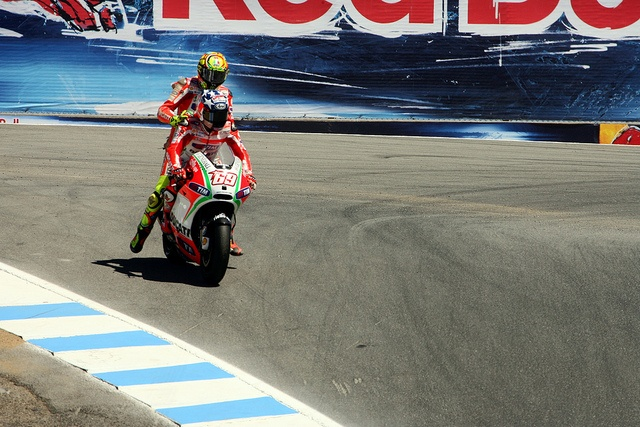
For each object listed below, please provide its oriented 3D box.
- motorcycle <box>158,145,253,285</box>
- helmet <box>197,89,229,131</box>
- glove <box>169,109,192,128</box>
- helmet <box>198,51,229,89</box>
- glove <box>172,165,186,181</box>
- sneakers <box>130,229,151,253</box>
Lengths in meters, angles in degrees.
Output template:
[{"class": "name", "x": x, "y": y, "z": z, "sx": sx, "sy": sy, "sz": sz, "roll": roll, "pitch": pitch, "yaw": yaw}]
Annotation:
[{"class": "motorcycle", "x": -1.436, "y": 0.102, "z": 7.463, "sx": 0.717, "sy": 1.655, "sz": 1.284, "roll": -7, "pitch": 24, "yaw": -35}, {"class": "helmet", "x": -1.437, "y": -1.427, "z": 7.712, "sx": 0.413, "sy": 0.515, "sz": 0.540, "roll": -5, "pitch": 26, "yaw": -23}, {"class": "glove", "x": -1.894, "y": -1.274, "z": 7.667, "sx": 0.276, "sy": 0.215, "sz": 0.169, "roll": 1, "pitch": 20, "yaw": -18}, {"class": "helmet", "x": -1.507, "y": -2.014, "z": 7.877, "sx": 0.457, "sy": 0.521, "sz": 0.547, "roll": 4, "pitch": 25, "yaw": -22}, {"class": "glove", "x": -1.837, "y": -0.520, "z": 7.338, "sx": 0.156, "sy": 0.147, "sz": 0.071, "roll": -35, "pitch": 17, "yaw": -1}, {"class": "sneakers", "x": -2.584, "y": 0.421, "z": 8.050, "sx": 0.182, "sy": 0.502, "sz": 0.214, "roll": 32, "pitch": 45, "yaw": -8}]
